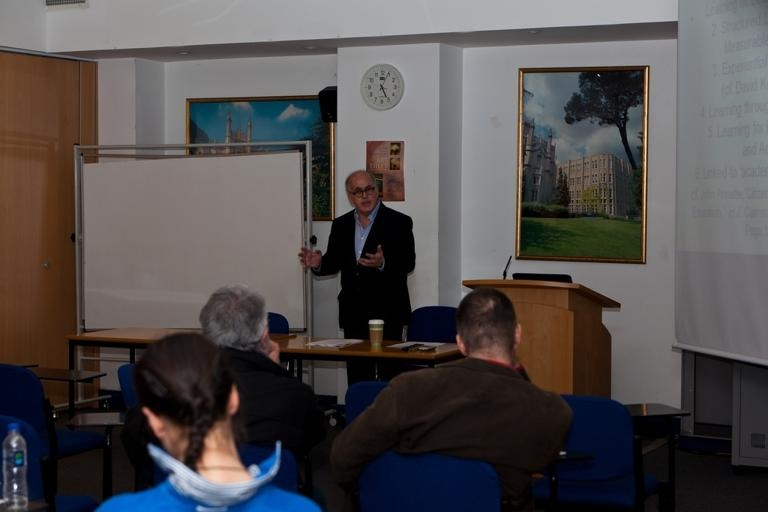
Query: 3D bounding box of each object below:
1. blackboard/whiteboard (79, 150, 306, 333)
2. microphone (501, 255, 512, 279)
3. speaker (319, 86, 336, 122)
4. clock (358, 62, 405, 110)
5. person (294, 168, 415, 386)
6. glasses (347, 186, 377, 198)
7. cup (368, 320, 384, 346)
[{"bbox_3d":[-1.804,-0.174,5.856,1.725,1.321,0.073,1,0,4],"label":"blackboard/whiteboard"},{"bbox_3d":[1.205,0.093,6.021,0.066,0.236,0.034,30,-7,-35],"label":"microphone"},{"bbox_3d":[-0.604,-1.560,6.339,0.176,0.358,0.338,-2,3,-16],"label":"speaker"},{"bbox_3d":[-0.016,-1.702,6.124,0.460,0.497,0.054,1,1,13],"label":"clock"},{"bbox_3d":[-0.235,0.418,5.416,0.943,2.223,0.936,-1,5,2],"label":"person"},{"bbox_3d":[-0.198,-0.565,5.336,0.237,0.094,0.110,-2,3,-9],"label":"glasses"},{"bbox_3d":[-0.077,0.583,4.597,0.151,0.223,0.156,0,-5,0],"label":"cup"}]
